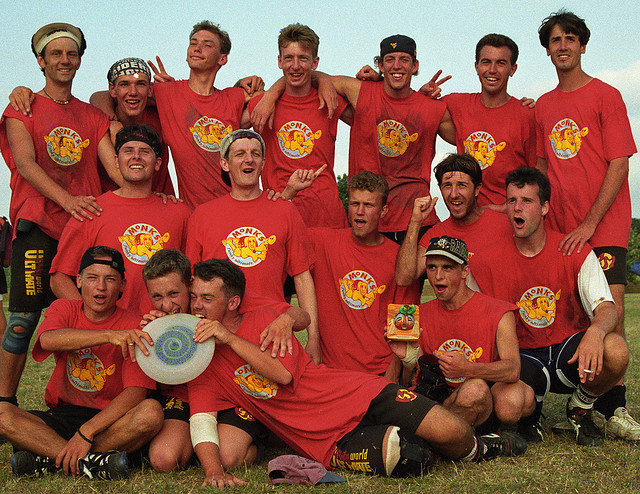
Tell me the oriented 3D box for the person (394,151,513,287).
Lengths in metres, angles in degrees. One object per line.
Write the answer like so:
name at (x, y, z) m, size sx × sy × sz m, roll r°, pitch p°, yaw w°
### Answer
person at (1.666, -0.283, 7.626) m, size 1.350 × 1.972 × 1.041 m, roll -8°, pitch -5°, yaw 24°
